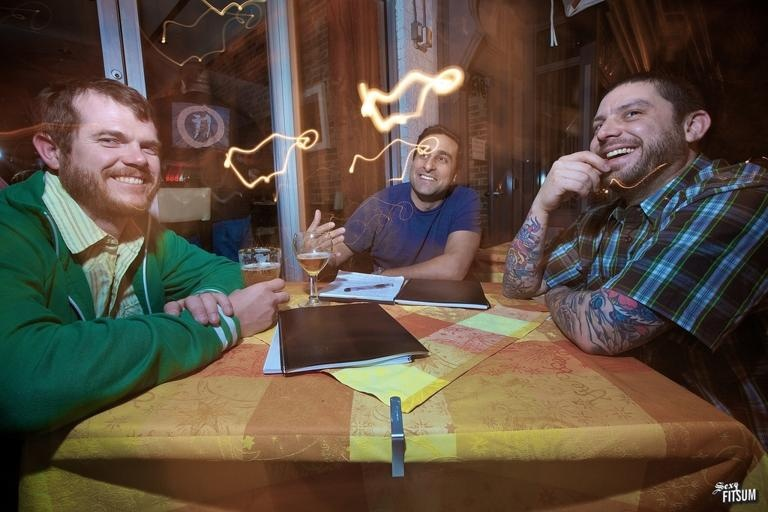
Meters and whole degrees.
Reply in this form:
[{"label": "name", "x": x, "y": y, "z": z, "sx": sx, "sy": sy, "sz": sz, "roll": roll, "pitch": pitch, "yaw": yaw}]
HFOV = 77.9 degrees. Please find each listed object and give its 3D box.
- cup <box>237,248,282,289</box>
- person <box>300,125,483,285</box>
[{"label": "cup", "x": -0.469, "y": 0.035, "z": 1.881, "sx": 0.152, "sy": 0.171, "sz": 0.153, "roll": -3, "pitch": -17, "yaw": -1}, {"label": "person", "x": 0.176, "y": -0.328, "z": 2.852, "sx": 0.778, "sy": 1.081, "sz": 1.101, "roll": 9, "pitch": 3, "yaw": 31}]
